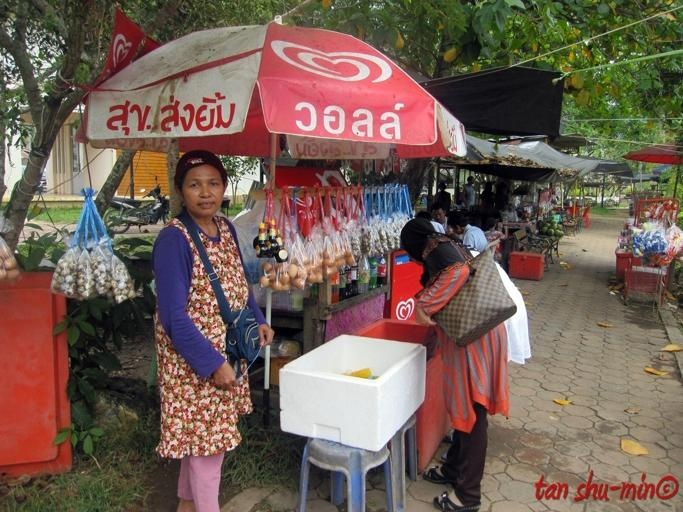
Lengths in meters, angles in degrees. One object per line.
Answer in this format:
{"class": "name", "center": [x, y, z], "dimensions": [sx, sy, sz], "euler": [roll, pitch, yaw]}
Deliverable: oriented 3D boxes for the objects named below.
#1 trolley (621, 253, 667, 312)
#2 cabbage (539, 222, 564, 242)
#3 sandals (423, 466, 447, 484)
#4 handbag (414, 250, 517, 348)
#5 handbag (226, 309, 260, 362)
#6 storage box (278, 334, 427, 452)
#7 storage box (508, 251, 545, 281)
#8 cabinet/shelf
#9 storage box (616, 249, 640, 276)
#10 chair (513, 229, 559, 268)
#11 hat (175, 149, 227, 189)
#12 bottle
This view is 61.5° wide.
{"class": "trolley", "center": [4.928, 0.435, 9.370], "dimensions": [0.570, 0.875, 0.866], "euler": [9, 14, 31]}
{"class": "cabbage", "center": [5.084, -0.595, 14.031], "dimensions": [0.367, 0.247, 0.641], "euler": [15, 1, 22]}
{"class": "sandals", "center": [0.725, 1.706, 4.491], "dimensions": [0.197, 0.072, 0.082], "euler": [3, 5, 29]}
{"class": "handbag", "center": [0.868, 0.302, 3.959], "dimensions": [0.461, 0.646, 0.494], "euler": [20, 14, 40]}
{"class": "handbag", "center": [-0.635, 0.499, 3.746], "dimensions": [0.169, 0.347, 0.255], "euler": [3, 6, 22]}
{"class": "storage box", "center": [0.053, 0.928, 3.997], "dimensions": [0.643, 0.420, 0.894], "euler": [3, 7, 20]}
{"class": "storage box", "center": [3.740, 0.190, 11.682], "dimensions": [0.636, 0.503, 0.551], "euler": [2, 2, 20]}
{"class": "cabinet/shelf", "center": [-0.107, -0.063, 4.787], "dimensions": [0.355, 1.073, 1.927], "euler": [13, 16, 32]}
{"class": "storage box", "center": [5.010, 0.090, 10.085], "dimensions": [0.250, 0.367, 0.458], "euler": [3, 8, 29]}
{"class": "chair", "center": [4.458, -0.095, 13.446], "dimensions": [1.060, 1.145, 0.991], "euler": [2, 11, 11]}
{"class": "hat", "center": [-0.902, -0.588, 3.656], "dimensions": [0.262, 0.195, 0.263], "euler": [5, -11, -35]}
{"class": "bottle", "center": [0.073, 0.233, 5.091], "dimensions": [0.413, 0.417, 0.565], "euler": [3, 17, -14]}
